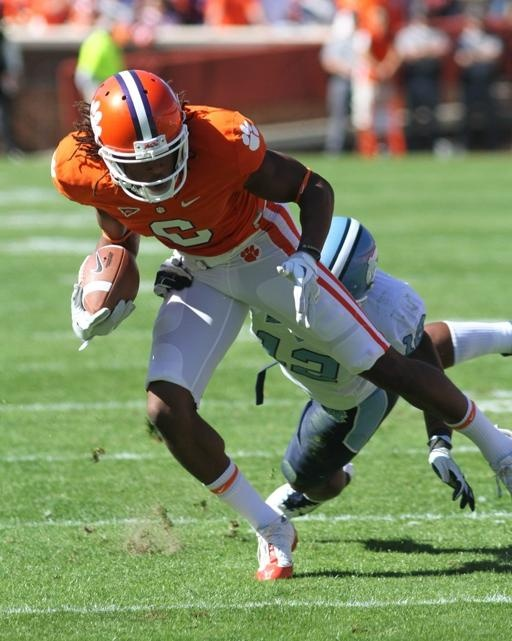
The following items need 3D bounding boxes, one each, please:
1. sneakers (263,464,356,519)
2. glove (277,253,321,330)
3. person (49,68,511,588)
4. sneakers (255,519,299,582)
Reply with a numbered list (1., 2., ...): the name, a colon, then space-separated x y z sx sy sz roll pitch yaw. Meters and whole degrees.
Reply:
1. sneakers: 0.107 0.559 2.447 0.141 0.336 0.095 39 33 -43
2. glove: 0.106 -0.079 1.913 0.082 0.187 0.160 -1 -4 10
3. person: 0.037 0.030 2.148 1.041 1.259 0.610 1 -4 -30
4. sneakers: 0.038 0.590 2.049 0.094 0.056 0.164 2 36 2
